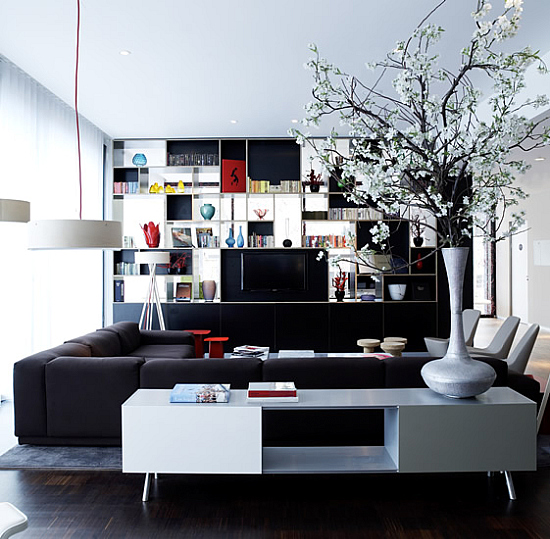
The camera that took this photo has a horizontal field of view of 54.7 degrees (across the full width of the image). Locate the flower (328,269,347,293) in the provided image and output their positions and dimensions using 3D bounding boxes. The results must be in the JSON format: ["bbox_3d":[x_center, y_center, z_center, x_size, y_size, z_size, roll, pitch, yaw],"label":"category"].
[{"bbox_3d":[0.879,0.170,7.246,0.236,0.395,0.271,-2,-4,43],"label":"flower"}]

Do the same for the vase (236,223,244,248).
[{"bbox_3d":[-0.496,-0.475,7.477,0.129,0.271,0.361,-1,12,-4],"label":"vase"}]

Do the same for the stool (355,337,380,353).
[{"bbox_3d":[1.011,0.822,5.896,0.232,0.154,0.237,-2,7,-28],"label":"stool"}]

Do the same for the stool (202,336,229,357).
[{"bbox_3d":[-0.669,0.851,5.972,0.278,0.272,0.293,0,-1,-3],"label":"stool"}]

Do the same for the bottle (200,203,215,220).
[{"bbox_3d":[-0.953,-0.822,7.497,0.218,0.228,0.301,-2,12,-9],"label":"bottle"}]

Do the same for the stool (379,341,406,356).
[{"bbox_3d":[1.233,0.819,5.632,0.192,0.136,0.202,0,-4,-2],"label":"stool"}]

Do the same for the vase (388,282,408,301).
[{"bbox_3d":[1.668,0.300,7.249,0.207,0.196,0.211,-1,-1,5],"label":"vase"}]

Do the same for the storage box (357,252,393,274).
[{"bbox_3d":[0.976,-0.073,5.153,0.261,0.194,0.149,0,-4,-7],"label":"storage box"}]

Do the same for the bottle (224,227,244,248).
[{"bbox_3d":[-0.595,-0.448,7.489,0.260,0.333,0.150,0,-6,1],"label":"bottle"}]

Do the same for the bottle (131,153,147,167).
[{"bbox_3d":[-1.927,-1.555,7.508,0.219,0.200,0.234,-3,12,-14],"label":"bottle"}]

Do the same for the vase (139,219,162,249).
[{"bbox_3d":[-1.752,-0.502,7.435,0.281,0.384,0.426,-3,12,-13],"label":"vase"}]

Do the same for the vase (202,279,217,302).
[{"bbox_3d":[-0.910,0.290,7.280,0.227,0.286,0.233,3,5,37],"label":"vase"}]

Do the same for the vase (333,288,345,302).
[{"bbox_3d":[0.879,0.345,7.309,0.129,0.155,0.153,1,4,-8],"label":"vase"}]

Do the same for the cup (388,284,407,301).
[{"bbox_3d":[1.667,0.310,7.246,0.205,0.187,0.209,0,-2,0],"label":"cup"}]

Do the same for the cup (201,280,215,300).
[{"bbox_3d":[-0.913,0.278,7.409,0.220,0.272,0.220,0,3,0],"label":"cup"}]

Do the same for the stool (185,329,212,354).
[{"bbox_3d":[-0.921,0.832,6.251,0.296,0.360,0.322,1,0,32],"label":"stool"}]

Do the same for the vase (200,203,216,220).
[{"bbox_3d":[-0.945,-0.815,7.459,0.201,0.206,0.201,-3,9,-25],"label":"vase"}]
